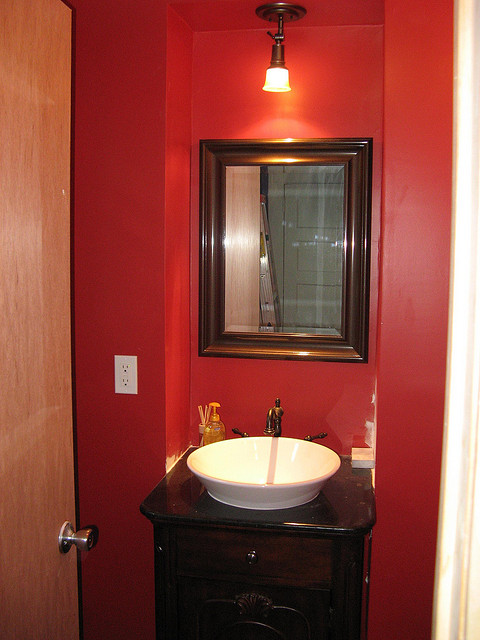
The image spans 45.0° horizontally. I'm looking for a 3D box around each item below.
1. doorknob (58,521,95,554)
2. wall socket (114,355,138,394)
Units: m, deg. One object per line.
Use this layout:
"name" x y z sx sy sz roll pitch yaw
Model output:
"doorknob" -0.299 0.405 1.072 0.056 0.062 0.067 0 3 -1
"wall socket" -0.340 0.162 1.741 0.081 0.186 0.024 0 2 6
